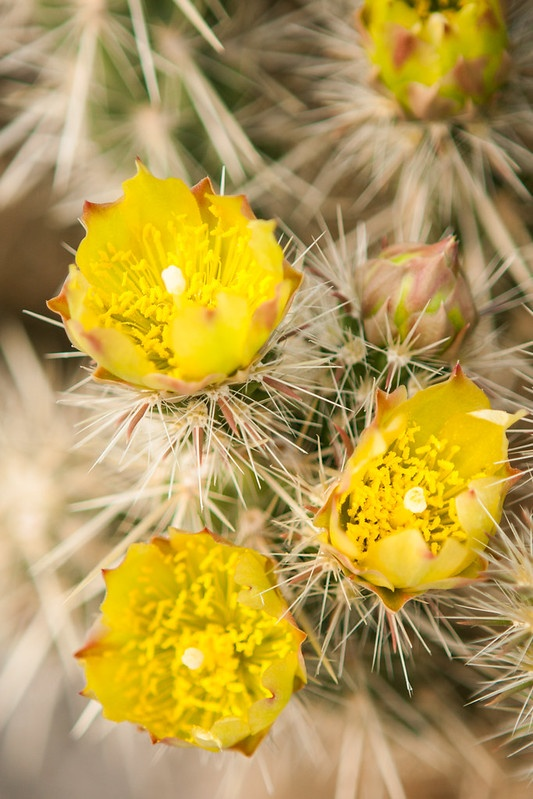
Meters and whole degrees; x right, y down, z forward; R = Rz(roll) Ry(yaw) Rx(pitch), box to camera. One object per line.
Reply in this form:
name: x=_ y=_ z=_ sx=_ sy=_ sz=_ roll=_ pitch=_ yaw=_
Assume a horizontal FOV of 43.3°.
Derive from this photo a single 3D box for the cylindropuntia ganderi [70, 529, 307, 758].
cylindropuntia ganderi: x=-0.065 y=0.227 z=0.630 sx=0.206 sy=0.132 sz=0.175 roll=15 pitch=54 yaw=7
